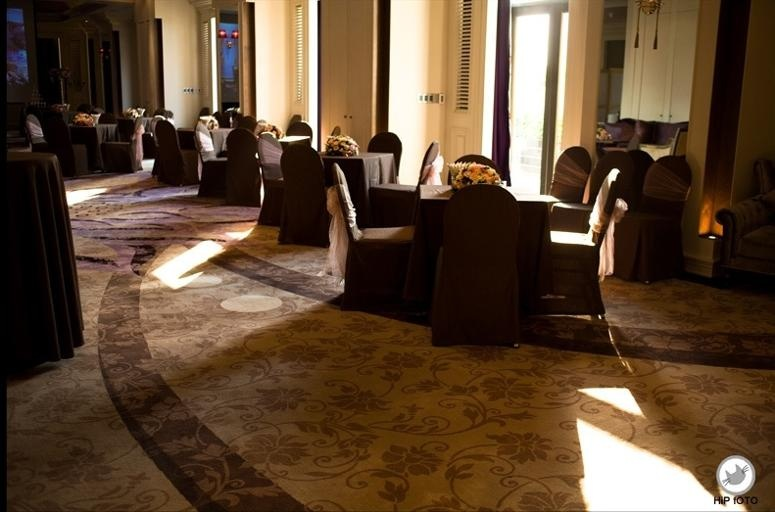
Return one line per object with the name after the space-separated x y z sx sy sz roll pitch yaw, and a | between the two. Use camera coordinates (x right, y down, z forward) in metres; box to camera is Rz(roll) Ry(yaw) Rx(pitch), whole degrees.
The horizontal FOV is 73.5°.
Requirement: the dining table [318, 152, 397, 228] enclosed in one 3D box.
-0.472 -0.871 6.732 0.942 0.729 1.074 5 15 22 | dining table

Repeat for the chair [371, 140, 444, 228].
0.227 -0.802 6.203 0.934 1.036 0.715 4 14 18 | chair

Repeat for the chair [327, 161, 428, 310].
-0.126 -0.351 5.070 1.176 1.584 1.145 -1 22 0 | chair
